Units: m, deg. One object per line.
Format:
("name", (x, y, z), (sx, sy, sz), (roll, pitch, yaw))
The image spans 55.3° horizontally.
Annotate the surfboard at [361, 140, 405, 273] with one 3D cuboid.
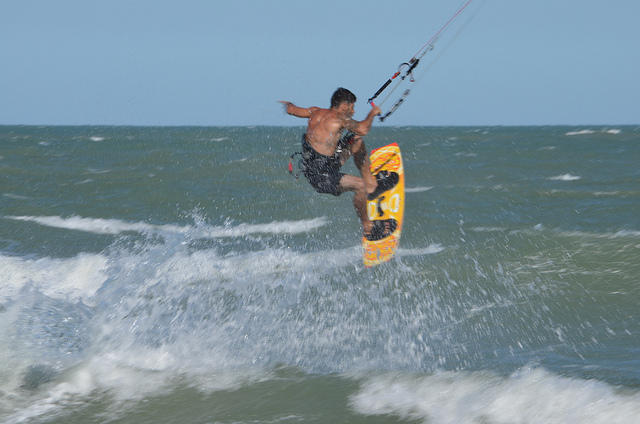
("surfboard", (1.442, -0.135, 13.236), (0.901, 2.827, 0.419), (10, -15, 4))
